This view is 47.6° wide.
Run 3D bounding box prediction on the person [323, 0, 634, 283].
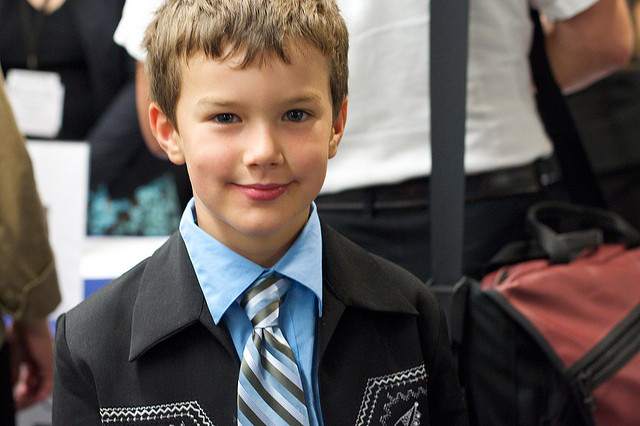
[{"bbox_3d":[0.412,-0.175,1.980,0.596,0.781,0.649,4,10,42],"label":"person"}]
